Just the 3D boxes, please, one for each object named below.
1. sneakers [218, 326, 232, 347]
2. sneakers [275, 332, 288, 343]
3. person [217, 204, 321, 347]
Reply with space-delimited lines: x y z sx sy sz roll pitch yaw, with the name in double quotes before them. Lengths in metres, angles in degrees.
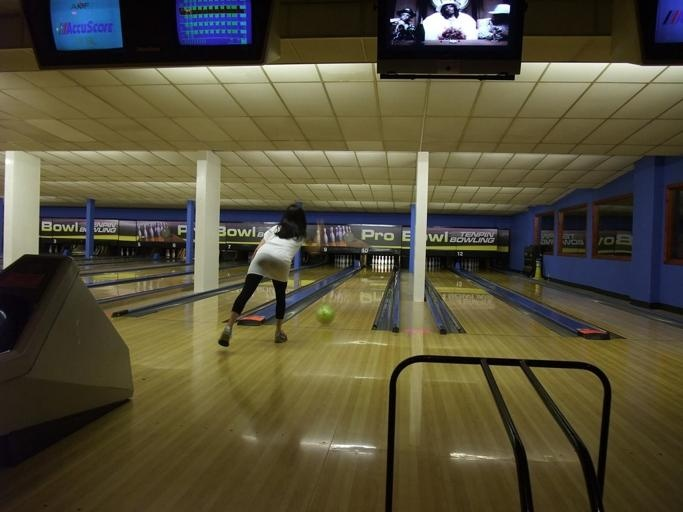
"sneakers" -0.931 0.644 3.415 0.066 0.132 0.184 15 35 -9
"sneakers" -0.514 0.685 3.612 0.058 0.074 0.122 2 5 15
"person" -0.650 0.137 3.644 0.670 1.191 0.700 1 1 -8
